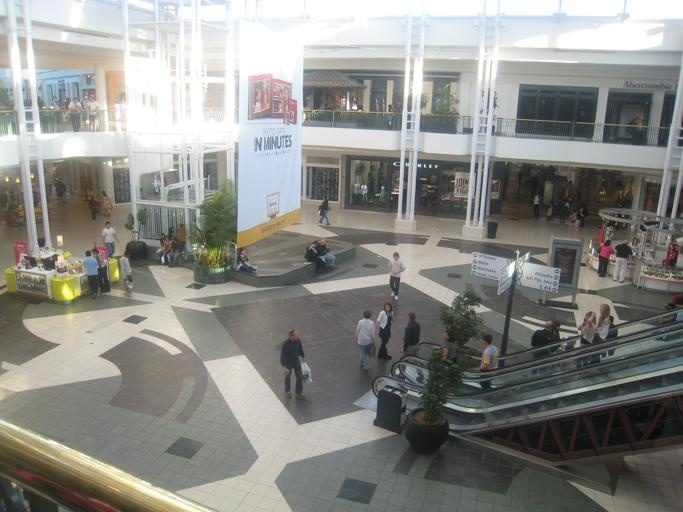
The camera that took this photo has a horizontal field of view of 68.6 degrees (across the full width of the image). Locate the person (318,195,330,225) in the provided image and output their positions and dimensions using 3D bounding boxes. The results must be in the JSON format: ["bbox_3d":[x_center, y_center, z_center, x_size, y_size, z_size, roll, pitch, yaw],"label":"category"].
[{"bbox_3d":[-1.055,-2.720,29.263,0.589,1.520,1.836,-2,13,-2],"label":"person"}]

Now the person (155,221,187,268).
[{"bbox_3d":[-7.274,-0.410,21.545,1.179,1.374,1.425,-6,14,-18],"label":"person"}]

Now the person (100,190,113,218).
[{"bbox_3d":[-13.867,-3.082,29.337,0.495,1.449,1.147,-8,14,-25],"label":"person"}]

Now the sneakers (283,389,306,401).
[{"bbox_3d":[-1.149,3.349,12.061,0.546,0.238,0.190,2,27,7],"label":"sneakers"}]

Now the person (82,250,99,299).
[{"bbox_3d":[-8.683,0.580,17.398,0.389,1.636,0.471,-3,13,-5],"label":"person"}]

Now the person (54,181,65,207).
[{"bbox_3d":[-17.578,-4.016,31.224,0.464,1.649,1.065,-9,15,-28],"label":"person"}]

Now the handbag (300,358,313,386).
[{"bbox_3d":[-0.838,2.760,11.877,0.214,0.725,0.284,0,-7,-6],"label":"handbag"}]

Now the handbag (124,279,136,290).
[{"bbox_3d":[-7.686,0.977,18.031,0.315,0.258,0.560,-15,25,-37],"label":"handbag"}]

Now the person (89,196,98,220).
[{"bbox_3d":[-14.027,-2.805,28.235,0.378,1.352,1.637,-8,14,-25],"label":"person"}]

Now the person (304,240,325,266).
[{"bbox_3d":[-1.385,-0.144,21.051,0.507,1.205,1.249,6,-1,25],"label":"person"}]

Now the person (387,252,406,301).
[{"bbox_3d":[1.960,0.649,18.102,0.480,1.824,1.344,0,13,6],"label":"person"}]

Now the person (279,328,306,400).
[{"bbox_3d":[-1.189,2.454,12.049,0.512,1.771,1.040,-3,13,-5],"label":"person"}]

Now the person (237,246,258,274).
[{"bbox_3d":[-3.838,0.149,19.916,1.003,1.141,0.766,2,18,-2],"label":"person"}]

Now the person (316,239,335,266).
[{"bbox_3d":[-0.727,-0.150,21.301,0.643,1.125,0.471,-10,48,-4],"label":"person"}]
